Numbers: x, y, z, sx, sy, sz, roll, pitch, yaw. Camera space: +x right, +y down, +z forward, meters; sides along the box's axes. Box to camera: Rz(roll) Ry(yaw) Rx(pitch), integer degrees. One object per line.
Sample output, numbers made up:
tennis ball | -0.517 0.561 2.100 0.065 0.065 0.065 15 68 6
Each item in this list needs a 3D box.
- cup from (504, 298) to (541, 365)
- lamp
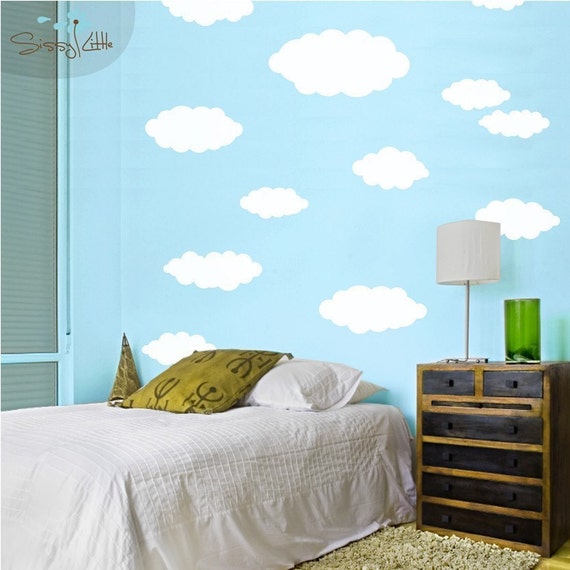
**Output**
cup | 1.025 0.190 2.998 0.134 0.267 0.104 -1 -1 16
lamp | 0.826 0.025 3.231 0.258 0.625 0.383 -1 -2 -4
